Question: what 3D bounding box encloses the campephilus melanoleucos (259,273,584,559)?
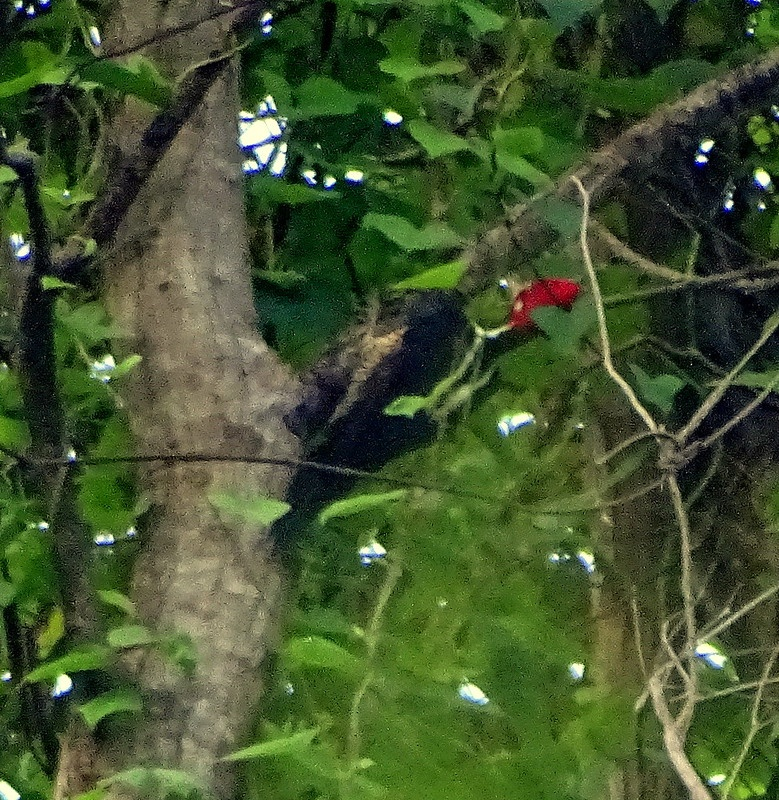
[{"bbox_3d":[-0.010,-0.004,3.133,0.706,0.225,0.235,-43,32,1],"label":"campephilus melanoleucos"}]
